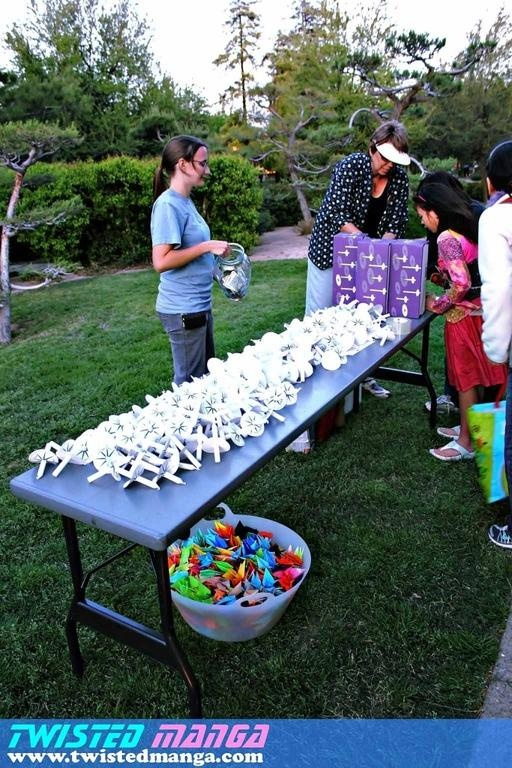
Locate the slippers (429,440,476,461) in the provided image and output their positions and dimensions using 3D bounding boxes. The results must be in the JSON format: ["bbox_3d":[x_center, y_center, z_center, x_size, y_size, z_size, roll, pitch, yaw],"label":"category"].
[{"bbox_3d":[1.011,0.338,2.987,0.175,0.073,0.097,0,7,12],"label":"slippers"}]

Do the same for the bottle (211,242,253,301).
[{"bbox_3d":[-0.096,-0.457,2.353,0.131,0.222,0.107,-6,16,-7],"label":"bottle"}]

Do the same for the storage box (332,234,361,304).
[{"bbox_3d":[0.414,-0.535,2.642,0.138,0.374,0.239,6,24,18],"label":"storage box"}]

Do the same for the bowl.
[{"bbox_3d":[-0.045,0.602,1.877,0.394,0.208,0.389,4,17,-1],"label":"bowl"}]

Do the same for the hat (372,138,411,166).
[{"bbox_3d":[0.599,-1.021,2.562,0.146,0.044,0.160,22,36,-19],"label":"hat"}]

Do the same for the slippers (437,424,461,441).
[{"bbox_3d":[1.070,0.272,3.224,0.119,0.041,0.062,-4,11,-23],"label":"slippers"}]

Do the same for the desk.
[{"bbox_3d":[-0.045,0.400,1.893,0.573,0.807,1.377,6,19,31],"label":"desk"}]

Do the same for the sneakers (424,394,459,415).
[{"bbox_3d":[1.158,0.128,3.633,0.237,0.107,0.087,0,20,12],"label":"sneakers"}]

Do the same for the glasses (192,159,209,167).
[{"bbox_3d":[-0.221,-0.887,2.315,0.032,0.034,0.085,4,18,26],"label":"glasses"}]

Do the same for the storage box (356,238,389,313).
[{"bbox_3d":[0.516,-0.477,2.576,0.145,0.328,0.085,-2,16,7],"label":"storage box"}]
